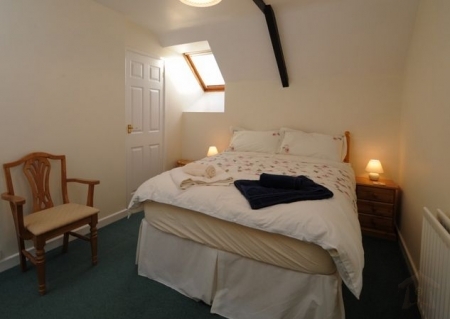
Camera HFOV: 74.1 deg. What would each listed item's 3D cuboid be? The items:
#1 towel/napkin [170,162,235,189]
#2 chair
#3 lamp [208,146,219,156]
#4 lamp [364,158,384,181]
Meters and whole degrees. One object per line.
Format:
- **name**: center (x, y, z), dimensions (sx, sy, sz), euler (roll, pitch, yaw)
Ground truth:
- **towel/napkin**: center (-0.283, 0.179, 3.156), dimensions (0.370, 0.123, 0.380), euler (-8, 11, -40)
- **chair**: center (-1.877, 0.593, 3.266), dimensions (0.742, 1.302, 0.824), euler (9, 12, 39)
- **lamp**: center (-0.190, -0.161, 5.234), dimensions (0.181, 0.185, 0.186), euler (4, 7, 37)
- **lamp**: center (2.075, 0.142, 4.154), dimensions (0.260, 0.303, 0.273), euler (0, -7, 2)
